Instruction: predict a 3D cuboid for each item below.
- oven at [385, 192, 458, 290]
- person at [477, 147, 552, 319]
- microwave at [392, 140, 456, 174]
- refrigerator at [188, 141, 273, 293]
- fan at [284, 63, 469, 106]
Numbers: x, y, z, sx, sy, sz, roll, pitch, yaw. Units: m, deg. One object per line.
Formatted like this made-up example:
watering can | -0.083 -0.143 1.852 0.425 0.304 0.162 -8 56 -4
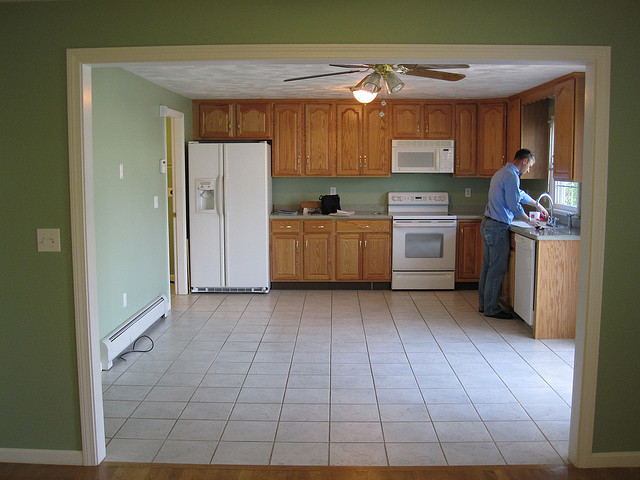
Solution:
oven | 1.462 -0.006 6.924 0.897 1.303 0.705 -1 9 2
person | 2.339 -0.134 5.809 0.755 1.947 1.140 3 10 22
microwave | 1.593 -1.216 7.024 1.012 0.497 0.483 9 19 40
refrigerator | -1.187 -0.316 6.844 1.042 1.982 0.958 0 4 2
fan | 0.489 -1.357 4.116 1.641 0.309 1.526 4 20 -2
